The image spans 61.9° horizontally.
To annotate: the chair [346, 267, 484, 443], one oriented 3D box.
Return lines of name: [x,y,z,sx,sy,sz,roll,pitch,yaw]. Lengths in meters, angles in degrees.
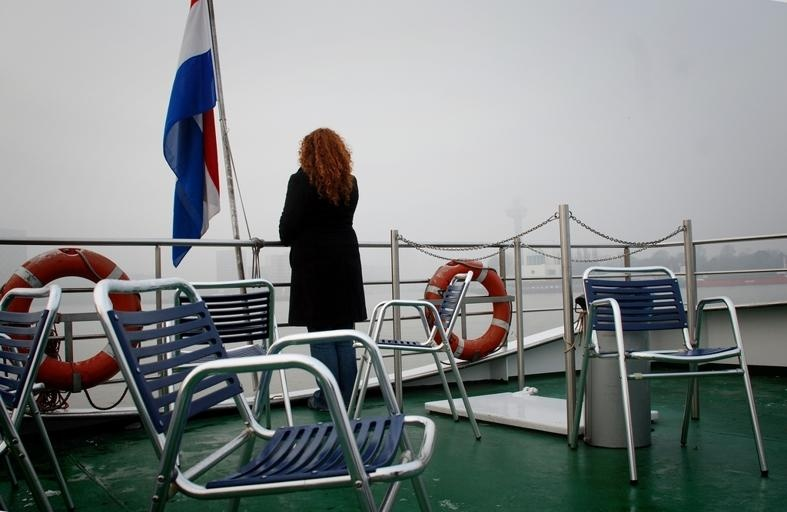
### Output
chair: [0.126,0.888,5.906,0.924,1.216,1.050,6,-10,-20]

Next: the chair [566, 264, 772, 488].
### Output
chair: [2.563,0.897,5.875,1.495,2.298,1.644,1,-10,-12]

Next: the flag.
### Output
flag: [-2.397,-1.598,7.790,0.633,2.754,0.825,-4,10,-15]

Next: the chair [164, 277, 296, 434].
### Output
chair: [-1.273,0.705,4.837,0.935,1.339,1.088,-5,-16,-1]

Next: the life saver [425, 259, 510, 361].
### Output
life saver: [0.998,0.633,7.890,1.013,1.173,0.308,-3,-6,-15]
